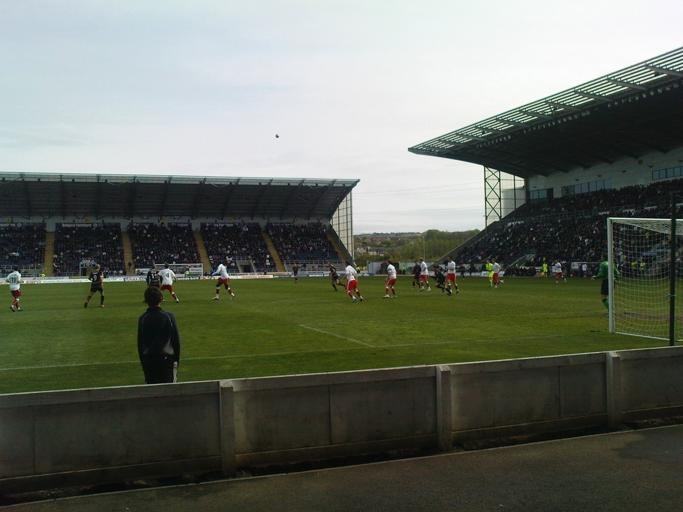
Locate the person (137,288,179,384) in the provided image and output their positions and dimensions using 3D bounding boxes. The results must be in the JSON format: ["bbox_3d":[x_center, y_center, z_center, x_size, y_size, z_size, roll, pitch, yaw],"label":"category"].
[{"bbox_3d":[-2.410,1.047,8.476,0.537,1.312,0.530,0,0,-6],"label":"person"}]

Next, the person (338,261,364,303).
[{"bbox_3d":[0.396,0.974,25.263,0.624,1.569,0.631,1,-6,-41],"label":"person"}]

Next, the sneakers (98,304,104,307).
[{"bbox_3d":[-9.290,1.899,25.043,0.138,0.176,0.443,-2,1,-6],"label":"sneakers"}]

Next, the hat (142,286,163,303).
[{"bbox_3d":[-2.523,0.527,8.649,0.206,0.252,0.249,5,-29,-14],"label":"hat"}]

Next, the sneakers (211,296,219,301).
[{"bbox_3d":[-5.480,1.846,28.211,0.372,0.250,0.137,4,0,27],"label":"sneakers"}]

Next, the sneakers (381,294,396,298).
[{"bbox_3d":[2.108,1.808,28.969,0.542,0.239,0.174,8,-5,37],"label":"sneakers"}]
